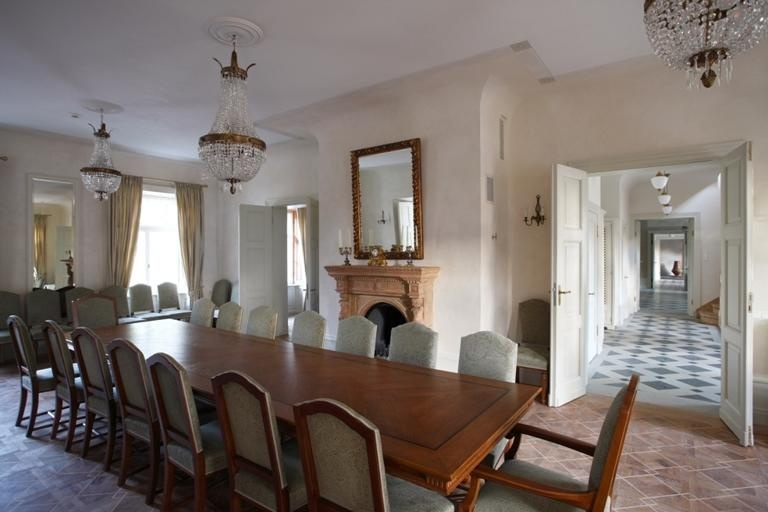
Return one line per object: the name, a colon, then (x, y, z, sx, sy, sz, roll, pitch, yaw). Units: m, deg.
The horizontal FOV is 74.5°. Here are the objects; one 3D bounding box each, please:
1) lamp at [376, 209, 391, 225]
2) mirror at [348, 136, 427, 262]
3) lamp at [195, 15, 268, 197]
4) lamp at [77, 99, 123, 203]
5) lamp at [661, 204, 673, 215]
lamp: (-0.004, -0.530, 7.168, 0.180, 0.199, 0.189, -3, 11, -17)
mirror: (0.094, -0.801, 7.111, 1.680, 2.348, 0.189, -2, -2, 36)
lamp: (-1.762, -1.597, 5.779, 0.670, 1.841, 1.234, 0, 1, -20)
lamp: (-4.300, -1.477, 7.657, 0.469, 1.357, 1.787, -1, 1, -30)
lamp: (6.278, -0.998, 11.119, 0.225, 0.245, 0.225, 2, -4, -30)
